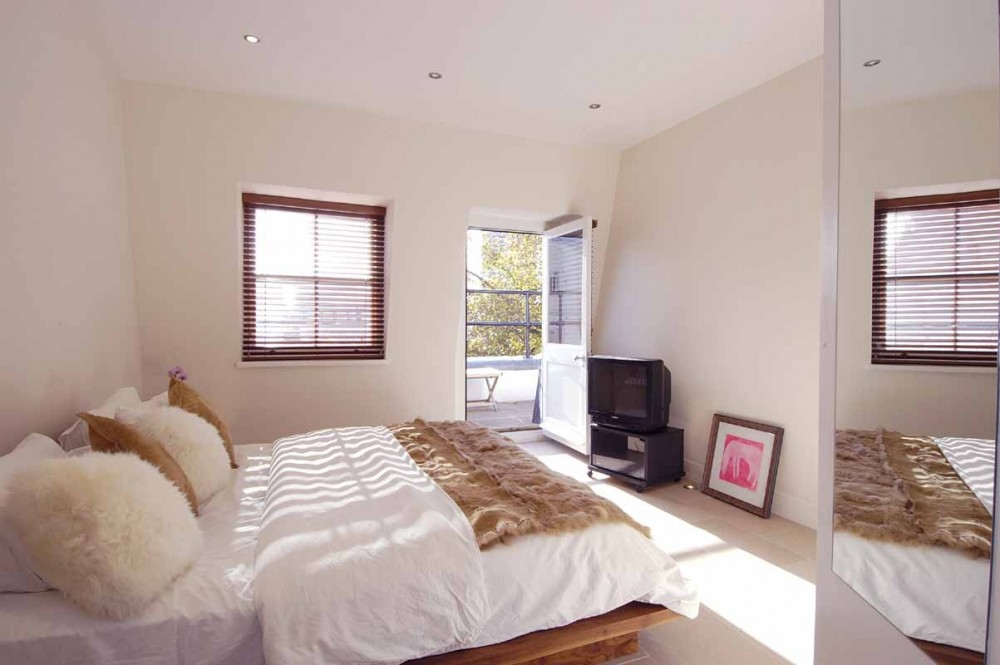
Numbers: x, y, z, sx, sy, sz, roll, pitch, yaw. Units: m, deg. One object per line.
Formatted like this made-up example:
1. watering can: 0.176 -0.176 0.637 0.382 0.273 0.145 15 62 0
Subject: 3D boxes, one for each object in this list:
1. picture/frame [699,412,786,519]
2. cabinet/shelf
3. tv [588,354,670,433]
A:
1. picture/frame: 1.693 0.933 4.515 0.074 0.740 0.624 11 1 -26
2. cabinet/shelf: 1.062 0.969 5.195 0.478 0.399 0.638 -3 3 -37
3. tv: 1.041 0.476 5.243 0.371 0.555 0.614 -2 4 -44
